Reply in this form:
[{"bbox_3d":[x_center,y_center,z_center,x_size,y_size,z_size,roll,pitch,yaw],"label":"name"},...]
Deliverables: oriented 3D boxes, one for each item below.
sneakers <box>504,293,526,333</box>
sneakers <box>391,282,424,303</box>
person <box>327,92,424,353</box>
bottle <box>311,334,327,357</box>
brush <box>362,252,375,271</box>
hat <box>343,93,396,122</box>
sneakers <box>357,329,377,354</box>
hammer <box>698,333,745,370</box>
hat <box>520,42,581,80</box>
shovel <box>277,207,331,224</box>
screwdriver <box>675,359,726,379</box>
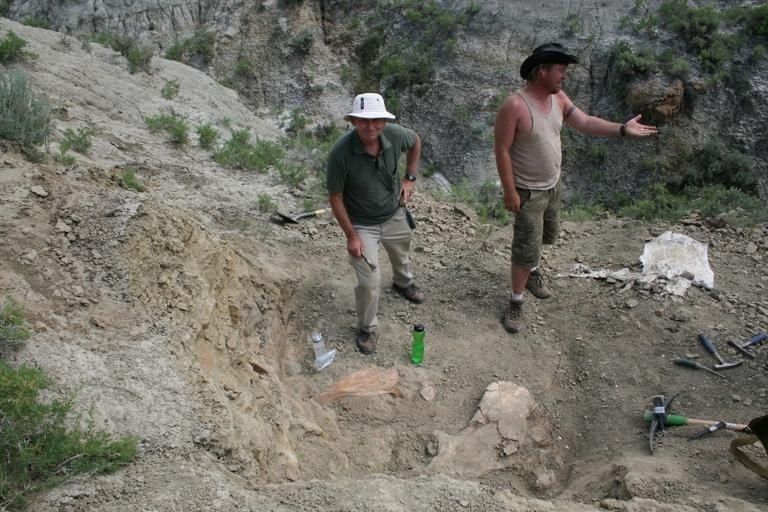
[{"bbox_3d":[1.919,0.877,11.498,0.227,0.263,0.626,5,65,4],"label":"sneakers"},{"bbox_3d":[0.383,0.582,12.095,0.448,0.194,0.244,39,73,12],"label":"sneakers"},{"bbox_3d":[-0.108,-0.536,11.350,1.353,3.624,0.935,-21,33,-40],"label":"person"},{"bbox_3d":[-0.950,1.278,11.387,0.203,0.323,0.297,-4,25,-12],"label":"bottle"},{"bbox_3d":[-0.221,0.092,11.134,0.097,0.331,0.049,-39,3,-1],"label":"brush"},{"bbox_3d":[-0.213,-2.030,10.654,0.483,0.224,0.471,3,22,10],"label":"hat"},{"bbox_3d":[-0.263,1.275,11.416,0.203,0.398,0.245,-2,-10,4],"label":"sneakers"},{"bbox_3d":[4.613,1.360,10.841,0.344,0.120,0.523,-21,45,-8],"label":"hammer"},{"bbox_3d":[2.337,-2.765,10.902,0.838,0.322,0.709,-5,-3,15],"label":"hat"},{"bbox_3d":[-1.413,-0.680,13.418,0.611,0.129,0.310,-16,20,-31],"label":"shovel"},{"bbox_3d":[4.355,1.539,10.742,0.695,0.138,0.081,12,27,19],"label":"screwdriver"}]
